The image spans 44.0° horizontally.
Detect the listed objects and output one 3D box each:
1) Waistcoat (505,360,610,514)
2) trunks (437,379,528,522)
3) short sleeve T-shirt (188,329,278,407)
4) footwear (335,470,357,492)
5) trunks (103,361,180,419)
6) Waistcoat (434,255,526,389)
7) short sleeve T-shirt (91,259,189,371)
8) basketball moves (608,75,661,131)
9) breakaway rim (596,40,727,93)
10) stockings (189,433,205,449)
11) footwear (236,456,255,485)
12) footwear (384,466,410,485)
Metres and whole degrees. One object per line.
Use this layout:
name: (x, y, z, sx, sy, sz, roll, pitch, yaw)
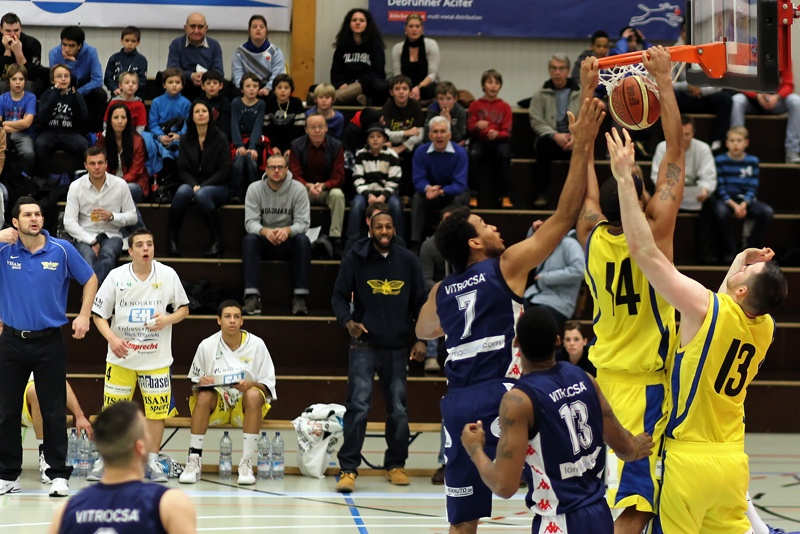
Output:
Waistcoat: (1.224, 1.416, 8.048, 0.841, 1.702, 1.145, 1, -1, 8)
trunks: (0.655, 1.601, 8.395, 0.634, 1.099, 0.606, -6, -11, 26)
short sleeve T-shirt: (-1.876, 1.179, 11.179, 0.894, 0.830, 0.392, 1, -2, -5)
footwear: (-0.571, 2.314, 10.684, 0.199, 0.209, 0.234, 1, -1, -3)
trunks: (-2.691, 1.285, 10.299, 0.803, 0.828, 0.328, 0, -3, -3)
Waistcoat: (0.716, 0.523, 8.399, 0.593, 1.124, 0.792, 16, -27, -40)
short sleeve T-shirt: (-2.925, 0.556, 11.121, 1.186, 1.374, 0.557, 1, -9, -13)
basketball moves: (2.075, -1.366, 8.636, 0.417, 0.537, 0.444, -1, -35, 20)
breakaway rim: (2.329, -1.789, 8.656, 0.762, 0.294, 0.614, -8, 6, -5)
stockings: (-2.222, 1.932, 10.930, 0.152, 0.177, 0.155, 3, -10, -2)
footwear: (-1.655, 2.223, 10.771, 0.194, 0.277, 0.176, 1, -1, -9)
footwear: (-0.009, 2.326, 10.927, 0.113, 0.148, 0.329, 0, -7, -22)
